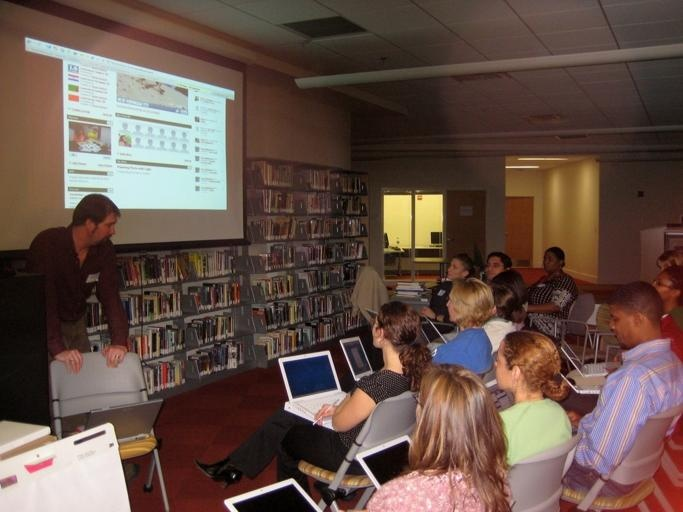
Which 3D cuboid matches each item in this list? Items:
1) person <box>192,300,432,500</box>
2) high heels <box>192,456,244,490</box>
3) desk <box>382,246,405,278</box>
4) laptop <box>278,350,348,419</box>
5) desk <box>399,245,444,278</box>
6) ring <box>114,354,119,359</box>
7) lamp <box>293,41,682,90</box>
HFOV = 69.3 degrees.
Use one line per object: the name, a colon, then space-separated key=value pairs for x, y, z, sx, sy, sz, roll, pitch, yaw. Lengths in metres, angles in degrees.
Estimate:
person: x=-0.189 y=0.986 z=3.232 sx=1.314 sy=1.608 sz=0.631 roll=14 pitch=11 yaw=23
high heels: x=-0.920 y=1.630 z=3.685 sx=0.337 sy=0.176 sz=0.124 roll=32 pitch=-22 yaw=15
desk: x=1.463 y=0.220 z=13.760 sx=0.709 sy=0.714 sz=0.735 roll=1 pitch=1 yaw=8
laptop: x=-0.206 y=0.853 z=3.339 sx=0.447 sy=0.289 sz=0.401 roll=-4 pitch=6 yaw=-39
desk: x=2.085 y=0.181 z=13.041 sx=1.203 sy=0.899 sz=0.718 roll=5 pitch=10 yaw=31
ring: x=-1.508 y=0.682 z=3.325 sx=0.022 sy=0.023 sz=0.007 roll=18 pitch=-15 yaw=-11
lamp: x=1.781 y=-2.358 z=6.091 sx=4.542 sy=0.252 sz=0.336 roll=3 pitch=-29 yaw=23
